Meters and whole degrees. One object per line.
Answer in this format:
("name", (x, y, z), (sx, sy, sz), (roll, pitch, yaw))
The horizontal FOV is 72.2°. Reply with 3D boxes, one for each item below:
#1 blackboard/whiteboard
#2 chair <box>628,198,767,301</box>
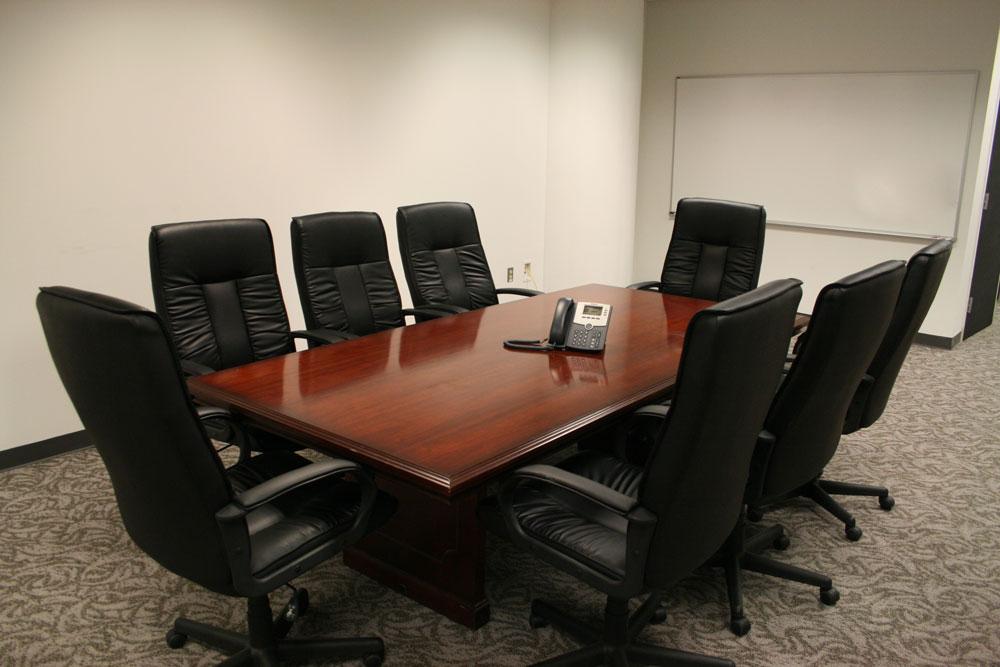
("blackboard/whiteboard", (3.097, -1.638, 6.265), (2.405, 1.311, 0.088), (12, 27, 33))
("chair", (1.654, -0.700, 5.343), (0.817, 1.117, 0.933), (13, 16, 38))
